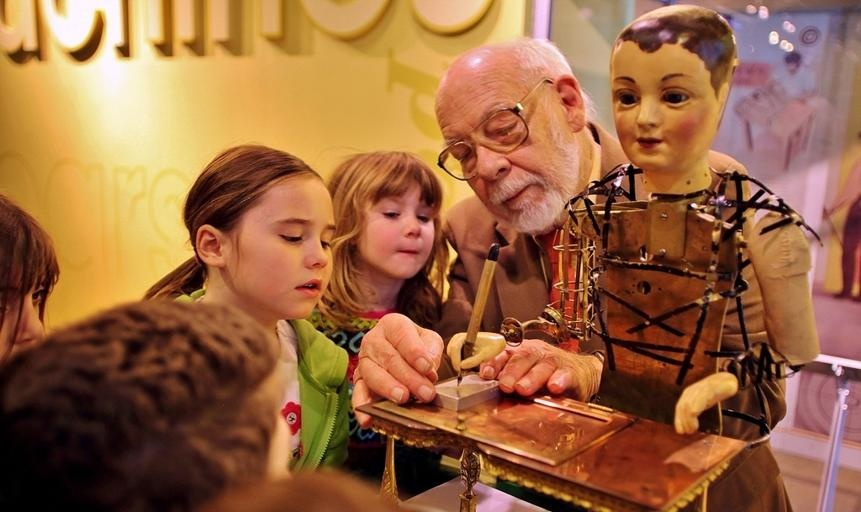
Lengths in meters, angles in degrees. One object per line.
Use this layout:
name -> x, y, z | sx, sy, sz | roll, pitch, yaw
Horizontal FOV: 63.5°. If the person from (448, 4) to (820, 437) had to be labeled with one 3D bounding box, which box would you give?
person -> 0.651, -0.092, 2.234 | 1.054, 1.291, 0.827 | 6, 11, 43
